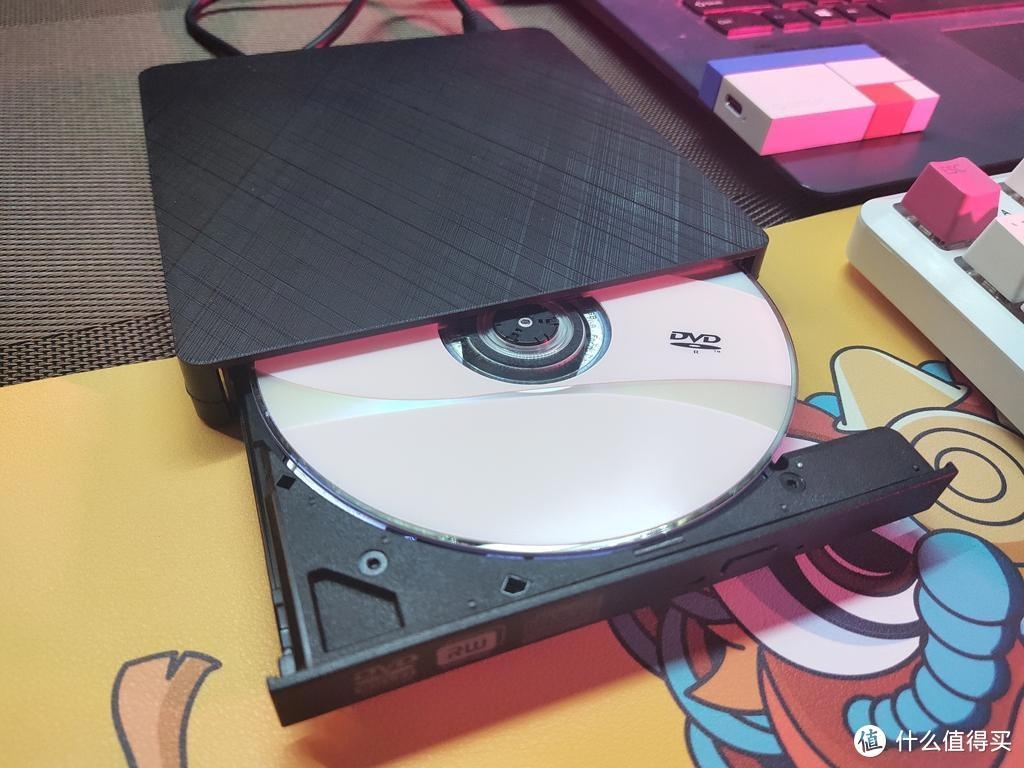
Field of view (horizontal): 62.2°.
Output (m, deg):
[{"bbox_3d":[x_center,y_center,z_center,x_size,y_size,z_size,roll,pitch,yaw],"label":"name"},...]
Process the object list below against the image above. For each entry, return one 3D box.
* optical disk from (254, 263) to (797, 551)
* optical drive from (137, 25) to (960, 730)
[{"bbox_3d":[0.052,0.024,0.736,0.488,0.043,0.259,-12,48,-18],"label":"optical disk"},{"bbox_3d":[-0.032,-0.099,0.864,0.596,0.134,0.712,-14,54,-10],"label":"optical drive"}]
